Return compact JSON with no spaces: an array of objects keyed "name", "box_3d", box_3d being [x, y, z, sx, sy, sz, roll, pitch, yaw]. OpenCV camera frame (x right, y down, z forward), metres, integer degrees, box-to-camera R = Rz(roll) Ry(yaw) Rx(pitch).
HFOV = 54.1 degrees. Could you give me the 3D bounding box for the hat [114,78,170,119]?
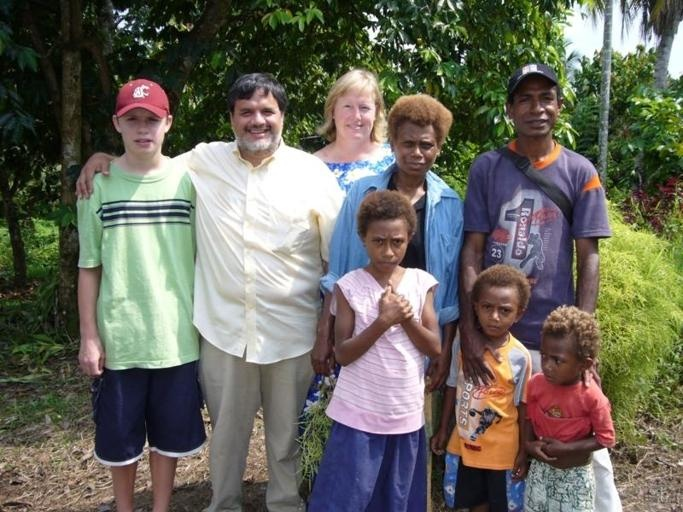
[{"name":"hat","box_3d":[-1.423,-1.128,4.775,0.399,0.270,0.507,-6,12,-26]}]
